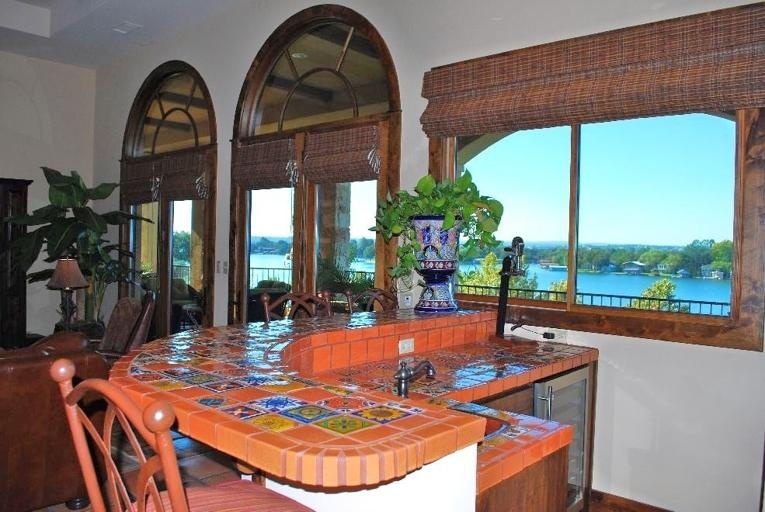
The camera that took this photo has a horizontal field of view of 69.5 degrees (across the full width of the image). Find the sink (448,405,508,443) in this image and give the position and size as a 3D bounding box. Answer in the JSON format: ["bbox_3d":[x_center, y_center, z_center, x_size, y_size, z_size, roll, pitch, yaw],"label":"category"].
[{"bbox_3d":[0.439,0.706,2.435,0.221,0.077,0.217,-2,3,-41],"label":"sink"}]

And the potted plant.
[{"bbox_3d":[0.386,-0.061,3.926,0.969,1.030,0.939,1,-2,-2],"label":"potted plant"}]

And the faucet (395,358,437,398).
[{"bbox_3d":[0.156,0.557,2.613,0.094,0.193,0.408,-2,-4,33],"label":"faucet"}]
